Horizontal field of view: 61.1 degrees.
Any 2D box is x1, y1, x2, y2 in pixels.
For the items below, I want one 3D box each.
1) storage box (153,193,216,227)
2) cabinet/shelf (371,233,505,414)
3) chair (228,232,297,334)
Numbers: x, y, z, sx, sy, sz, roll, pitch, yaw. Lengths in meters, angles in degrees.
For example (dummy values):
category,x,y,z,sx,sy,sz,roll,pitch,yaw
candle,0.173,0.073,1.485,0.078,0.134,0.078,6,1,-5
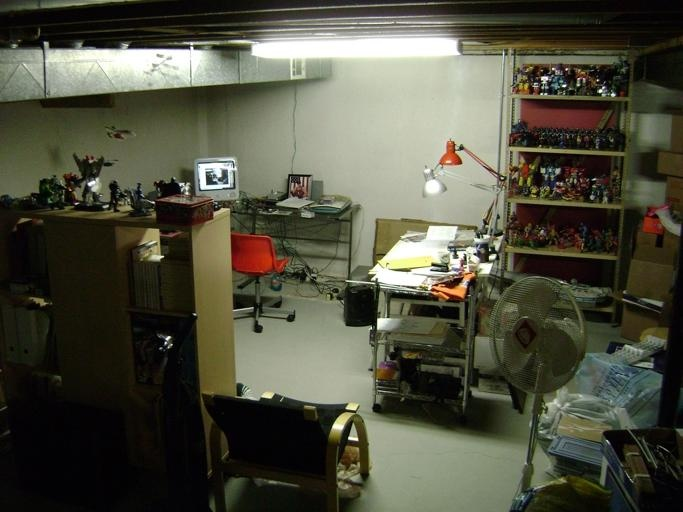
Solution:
category,x,y,z,sx,sy,sz,roll,pitch,yaw
storage box,-0.946,-0.314,3.408,0.207,0.126,0.270,7,15,23
cabinet/shelf,0.675,0.042,4.883,1.157,1.369,2.224,3,17,12
chair,-0.844,0.194,6.270,0.657,0.998,1.113,-2,9,-6
